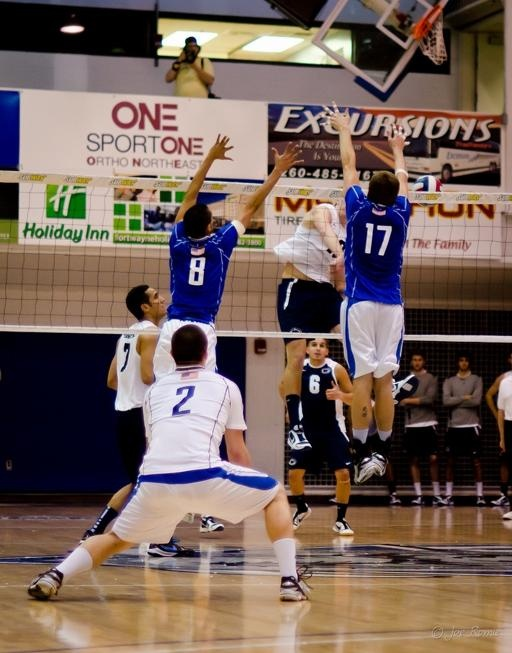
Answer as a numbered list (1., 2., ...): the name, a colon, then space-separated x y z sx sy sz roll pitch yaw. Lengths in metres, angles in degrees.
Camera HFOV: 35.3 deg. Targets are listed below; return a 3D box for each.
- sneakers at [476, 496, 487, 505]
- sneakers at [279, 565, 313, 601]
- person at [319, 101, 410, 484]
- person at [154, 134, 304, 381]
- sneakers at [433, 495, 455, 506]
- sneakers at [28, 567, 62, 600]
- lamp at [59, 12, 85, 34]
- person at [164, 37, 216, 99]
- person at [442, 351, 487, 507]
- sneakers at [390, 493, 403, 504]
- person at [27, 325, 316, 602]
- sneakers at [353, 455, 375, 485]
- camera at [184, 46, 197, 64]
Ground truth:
1. sneakers: 2.849 2.216 10.229 0.107 0.116 0.283 0 1 9
2. sneakers: 0.192 1.058 3.354 0.118 0.150 0.310 2 -11 10
3. person: 0.650 -0.171 4.807 0.442 2.253 0.507 3 2 4
4. person: -0.221 -0.152 4.972 0.696 1.935 0.538 4 21 -9
5. sneakers: 2.369 2.236 10.307 0.335 0.130 0.118 -1 13 1
6. sneakers: -0.823 1.015 3.168 0.098 0.073 0.165 11 -31 -15
7. lamp: -2.500 -4.042 10.899 0.297 0.282 0.293 -2 -2 44
8. person: -0.833 -3.160 10.112 0.558 0.873 0.570 1 4 -18
9. person: 2.665 1.344 10.386 0.566 1.327 0.619 3 2 11
10. sneakers: 1.815 2.275 10.564 0.099 0.115 0.280 0 -14 -2
11. person: -0.295 0.563 3.292 1.053 1.129 0.476 2 2 2
12. sneakers: 0.686 0.899 4.983 0.096 0.109 0.251 8 -29 -8
13. camera: -0.835 -3.415 10.095 0.168 0.220 0.088 3 4 12
